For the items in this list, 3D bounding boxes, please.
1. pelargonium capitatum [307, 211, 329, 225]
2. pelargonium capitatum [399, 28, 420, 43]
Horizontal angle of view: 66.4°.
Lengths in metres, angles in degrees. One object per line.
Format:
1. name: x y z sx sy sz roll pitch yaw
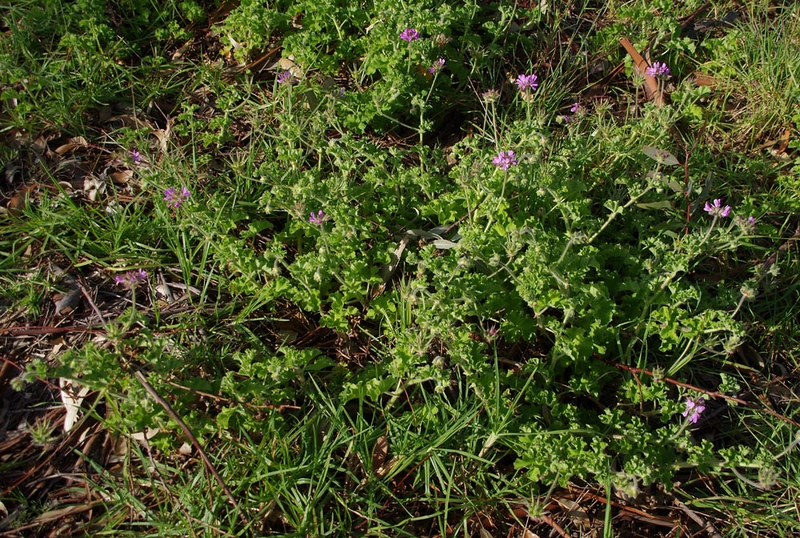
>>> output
1. pelargonium capitatum: -0.506 -0.314 3.754 0.099 0.058 0.105 4 21 -8
2. pelargonium capitatum: 0.071 -1.638 4.281 0.120 0.126 0.084 13 48 -16
